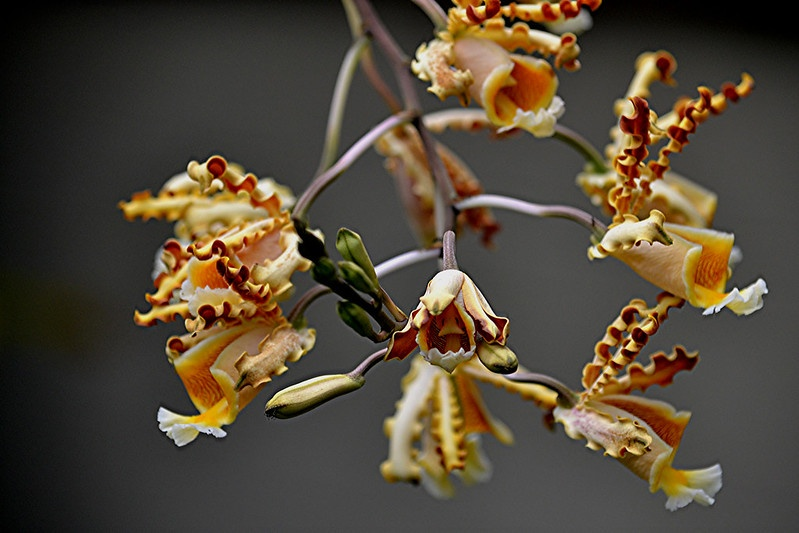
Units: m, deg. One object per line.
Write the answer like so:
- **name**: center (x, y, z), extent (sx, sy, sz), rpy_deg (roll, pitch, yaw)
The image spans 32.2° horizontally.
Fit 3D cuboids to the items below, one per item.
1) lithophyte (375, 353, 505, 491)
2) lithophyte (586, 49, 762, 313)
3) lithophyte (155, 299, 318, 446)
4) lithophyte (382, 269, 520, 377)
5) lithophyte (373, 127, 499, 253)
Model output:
- **lithophyte**: center (0.140, 0.402, 3.807), extent (0.349, 0.176, 0.516), rpy_deg (-19, 31, 16)
- **lithophyte**: center (0.729, -0.231, 3.642), extent (0.495, 0.576, 0.432), rpy_deg (7, 18, 6)
- **lithophyte**: center (-0.415, 0.280, 3.608), extent (0.141, 0.390, 0.274), rpy_deg (44, -2, -25)
- **lithophyte**: center (0.127, 0.138, 3.517), extent (0.308, 0.229, 0.350), rpy_deg (-8, 20, 6)
- **lithophyte**: center (0.105, -0.211, 3.812), extent (0.359, 0.328, 0.244), rpy_deg (6, 18, 2)
